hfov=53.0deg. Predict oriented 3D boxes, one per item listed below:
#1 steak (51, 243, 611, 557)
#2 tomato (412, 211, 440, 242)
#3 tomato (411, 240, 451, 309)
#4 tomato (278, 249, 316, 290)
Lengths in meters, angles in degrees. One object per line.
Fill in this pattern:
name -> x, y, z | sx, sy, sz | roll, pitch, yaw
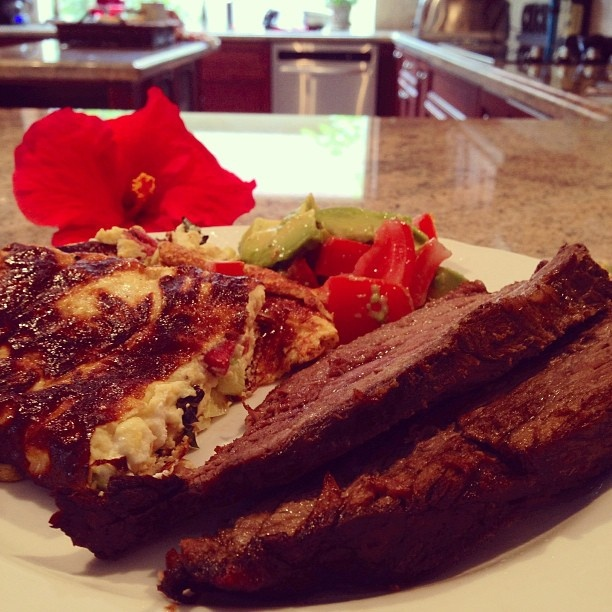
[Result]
steak -> 0.048, 0.106, 0.678 | 0.617, 0.070, 0.323 | -24, 1, 0
tomato -> 0.210, -0.148, 1.146 | 0.066, 0.050, 0.018 | 21, -40, -38
tomato -> 0.197, -0.058, 1.091 | 0.074, 0.117, 0.037 | 24, -4, -23
tomato -> -0.009, -0.063, 1.043 | 0.077, 0.056, 0.023 | -9, 7, -9
